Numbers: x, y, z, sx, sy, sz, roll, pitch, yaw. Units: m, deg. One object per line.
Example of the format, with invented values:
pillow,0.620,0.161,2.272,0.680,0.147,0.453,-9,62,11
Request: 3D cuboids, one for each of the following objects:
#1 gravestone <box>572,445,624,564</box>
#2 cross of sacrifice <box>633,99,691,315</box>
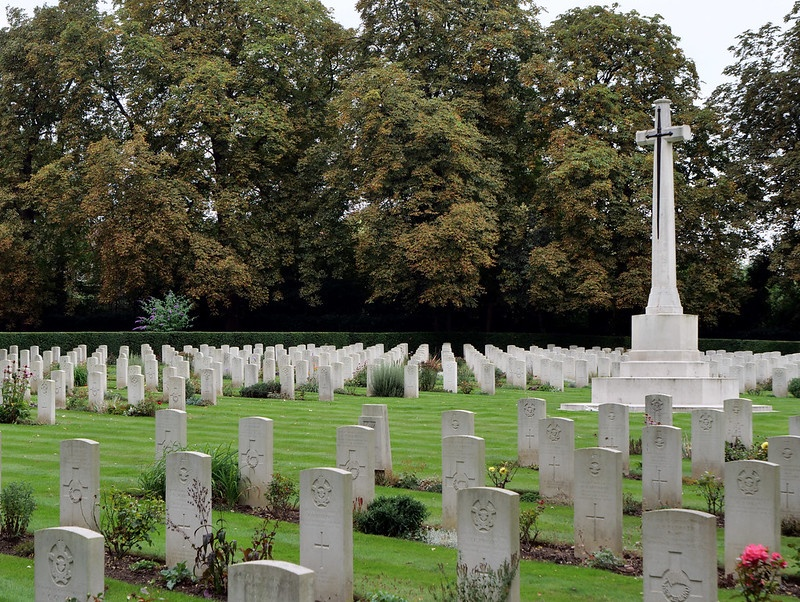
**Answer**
gravestone,3.707,3.761,22.272,0.906,2.039,0.297,1,-6,15
cross of sacrifice,7.451,-2.725,33.879,1.206,6.202,0.732,1,-6,20
